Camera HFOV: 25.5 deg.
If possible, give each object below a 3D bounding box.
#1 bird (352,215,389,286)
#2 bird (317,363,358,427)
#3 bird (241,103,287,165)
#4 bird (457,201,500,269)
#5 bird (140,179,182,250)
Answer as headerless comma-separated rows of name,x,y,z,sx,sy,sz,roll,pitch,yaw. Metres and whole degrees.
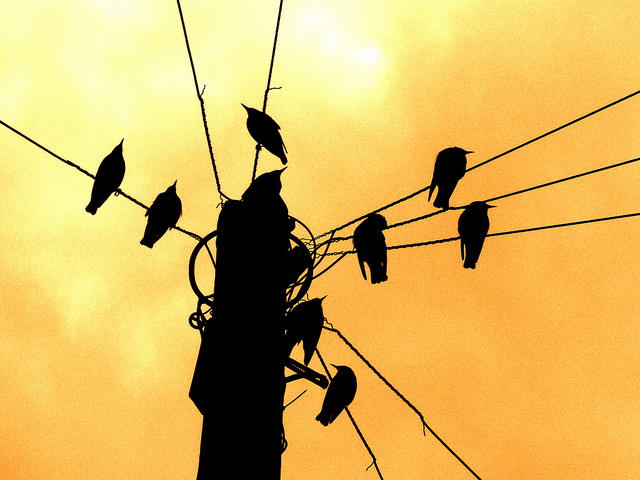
bird,0.765,0.118,19.830,0.440,1.333,0.847,-8,-74,3
bird,0.255,2.092,18.832,0.396,0.715,0.716,24,-70,-17
bird,-0.721,-1.448,19.546,0.995,0.344,0.457,26,-90,11
bird,1.974,-0.060,18.073,0.292,0.349,0.863,16,-97,-40
bird,-2.212,-0.352,19.537,0.485,1.022,0.497,17,-115,-19
